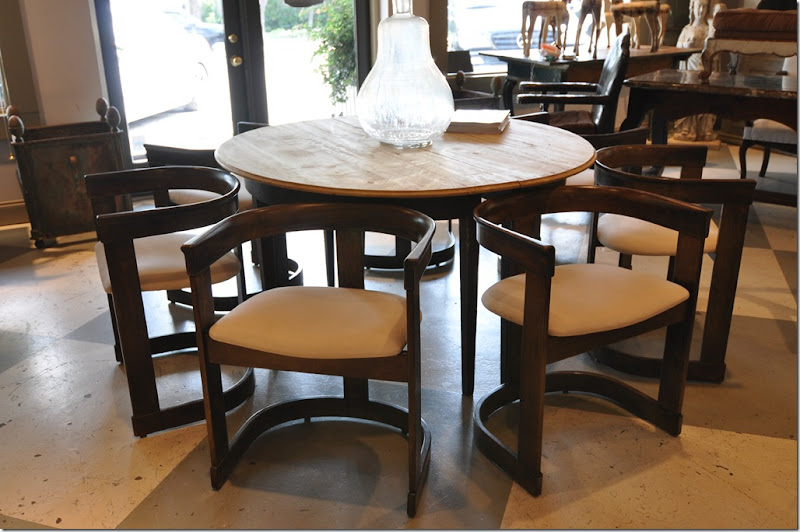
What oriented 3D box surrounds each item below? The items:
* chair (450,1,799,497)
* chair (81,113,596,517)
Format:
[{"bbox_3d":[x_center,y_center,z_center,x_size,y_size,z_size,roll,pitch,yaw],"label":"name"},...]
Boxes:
[{"bbox_3d":[0.822,0.191,2.591,0.785,1.083,1.149,17,29,37],"label":"chair"},{"bbox_3d":[-0.129,0.236,2.905,1.956,1.002,1.411,-1,28,0],"label":"chair"}]
